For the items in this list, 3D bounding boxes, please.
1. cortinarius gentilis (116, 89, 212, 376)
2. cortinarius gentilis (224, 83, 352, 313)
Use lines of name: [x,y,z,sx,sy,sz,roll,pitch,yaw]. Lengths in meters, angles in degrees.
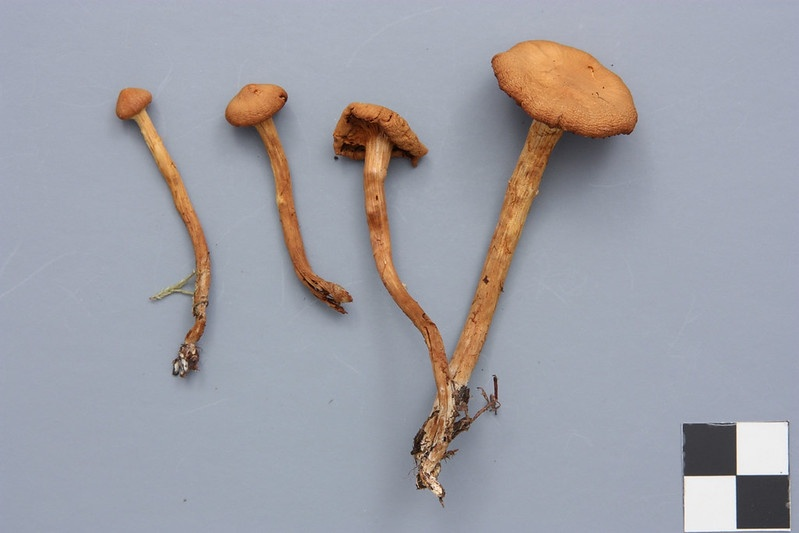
cortinarius gentilis: [-1.464,-0.216,7.661,0.377,1.527,1.043,-12,35,-31]
cortinarius gentilis: [-0.681,-0.452,7.575,0.471,0.314,1.935,-13,61,-18]
